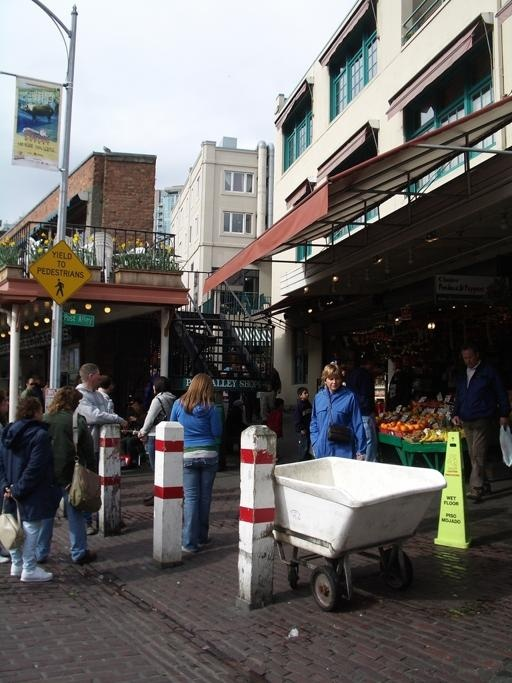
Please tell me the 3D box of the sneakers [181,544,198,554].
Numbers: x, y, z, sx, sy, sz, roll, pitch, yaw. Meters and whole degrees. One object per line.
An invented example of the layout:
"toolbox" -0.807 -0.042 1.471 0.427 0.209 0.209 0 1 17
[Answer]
"sneakers" -0.615 1.930 6.003 0.165 0.117 0.056 2 -1 1

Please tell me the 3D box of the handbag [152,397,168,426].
"handbag" -1.191 0.906 8.104 0.194 0.344 0.276 0 -5 -9

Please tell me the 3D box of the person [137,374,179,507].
"person" -1.322 1.289 8.271 0.452 1.565 0.510 -1 -4 31

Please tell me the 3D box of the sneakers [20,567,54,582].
"sneakers" -1.734 1.859 5.090 0.259 0.117 0.106 2 0 -17

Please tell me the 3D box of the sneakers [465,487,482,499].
"sneakers" 2.750 1.922 8.101 0.154 0.149 0.324 -1 -5 3

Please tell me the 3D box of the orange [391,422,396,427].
"orange" 2.289 1.380 10.706 0.060 0.040 0.072 -1 -1 0

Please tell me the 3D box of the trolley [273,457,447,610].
"trolley" 0.652 1.365 4.628 1.169 0.919 1.258 2 -6 -34

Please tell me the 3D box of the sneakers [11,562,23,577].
"sneakers" -1.987 1.882 5.321 0.063 0.077 0.181 3 -1 -3

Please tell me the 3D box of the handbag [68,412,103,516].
"handbag" -1.483 1.043 5.546 0.261 0.845 0.389 1 -6 -28

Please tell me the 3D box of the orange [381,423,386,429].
"orange" 2.205 1.463 11.147 0.041 0.076 0.078 0 -8 -32

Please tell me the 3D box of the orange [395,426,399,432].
"orange" 2.253 1.401 10.283 0.056 0.064 0.056 -2 4 -10

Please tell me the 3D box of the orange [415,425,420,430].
"orange" 2.553 1.352 10.167 0.085 0.078 0.151 -2 -5 13

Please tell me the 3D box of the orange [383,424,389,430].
"orange" 2.213 1.452 10.946 0.092 0.062 0.178 8 -4 6

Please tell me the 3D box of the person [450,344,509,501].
"person" 2.824 1.006 7.947 0.355 1.909 0.899 1 -5 -23

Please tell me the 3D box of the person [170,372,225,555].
"person" -0.563 1.142 6.130 0.452 1.663 0.580 -1 -5 -8

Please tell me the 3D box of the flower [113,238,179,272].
"flower" -2.304 -1.755 13.587 1.339 0.931 0.791 1 -8 -5

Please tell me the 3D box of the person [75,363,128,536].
"person" -1.702 1.176 7.217 0.594 1.778 0.520 -3 0 6

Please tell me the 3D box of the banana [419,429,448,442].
"banana" 2.673 1.412 9.640 0.261 0.098 0.216 -1 -1 -13
